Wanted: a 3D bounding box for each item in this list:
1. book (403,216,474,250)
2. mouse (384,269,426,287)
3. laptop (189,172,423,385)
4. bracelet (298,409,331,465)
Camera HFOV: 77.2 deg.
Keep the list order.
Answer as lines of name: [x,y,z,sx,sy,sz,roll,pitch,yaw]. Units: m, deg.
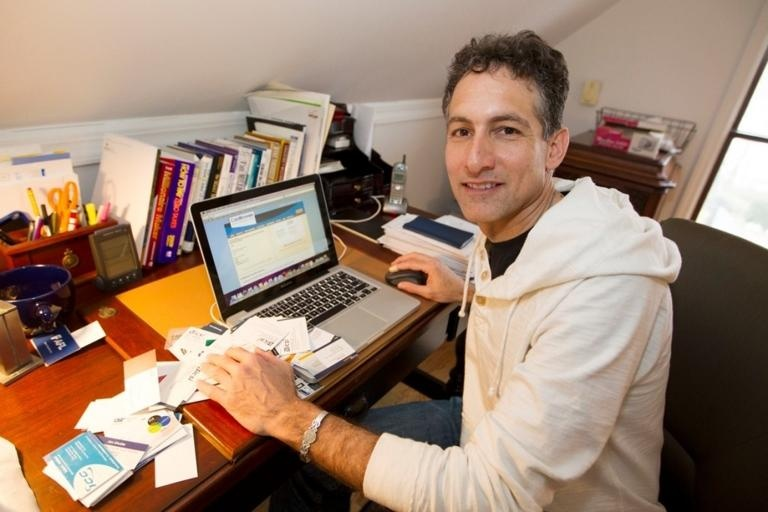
book: [0.198,-0.087,1.774,0.189,0.025,0.134,20,31,20]
mouse: [0.070,0.071,1.567,0.097,0.030,0.064,7,20,9]
laptop: [-0.282,0.129,1.518,0.578,0.378,0.588,34,43,30]
bracelet: [-0.167,0.432,1.152,0.046,0.103,0.105,23,9,10]
